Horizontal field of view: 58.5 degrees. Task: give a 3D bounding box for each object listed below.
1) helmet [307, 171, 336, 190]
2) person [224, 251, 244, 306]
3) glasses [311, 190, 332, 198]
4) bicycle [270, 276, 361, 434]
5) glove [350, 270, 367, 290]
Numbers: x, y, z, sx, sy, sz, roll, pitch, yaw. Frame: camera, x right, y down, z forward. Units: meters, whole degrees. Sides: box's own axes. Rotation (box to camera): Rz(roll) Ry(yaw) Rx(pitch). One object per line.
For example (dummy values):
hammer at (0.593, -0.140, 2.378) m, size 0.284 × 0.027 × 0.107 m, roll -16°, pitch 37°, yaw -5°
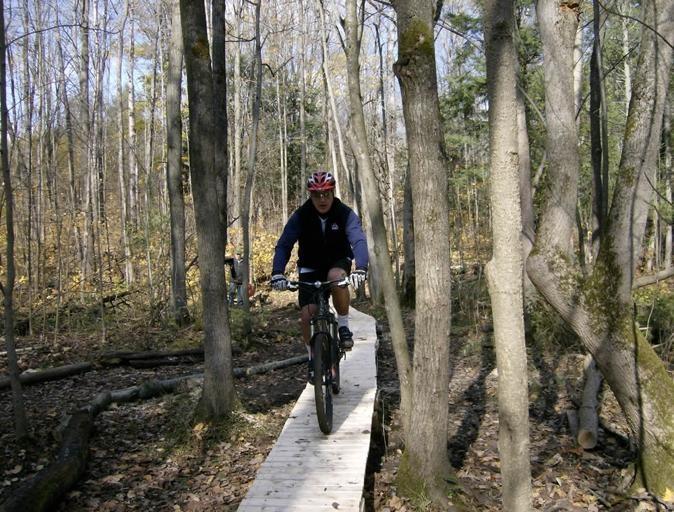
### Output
helmet at (-0.229, -0.995, 8.054) m, size 0.385 × 0.263 × 0.218 m, roll -2°, pitch 4°, yaw 8°
person at (-2.995, 0.686, 17.177) m, size 0.668 × 1.354 × 0.723 m, roll -10°, pitch -4°, yaw 27°
glasses at (-0.208, -0.823, 8.091) m, size 0.255 × 0.100 × 0.123 m, roll -3°, pitch 4°, yaw -7°
bicycle at (-0.150, 1.252, 7.969) m, size 0.769 × 1.994 × 1.199 m, roll -3°, pitch 4°, yaw -14°
glove at (0.259, 0.296, 7.806) m, size 0.191 × 0.205 × 0.487 m, roll -1°, pitch 4°, yaw 14°
